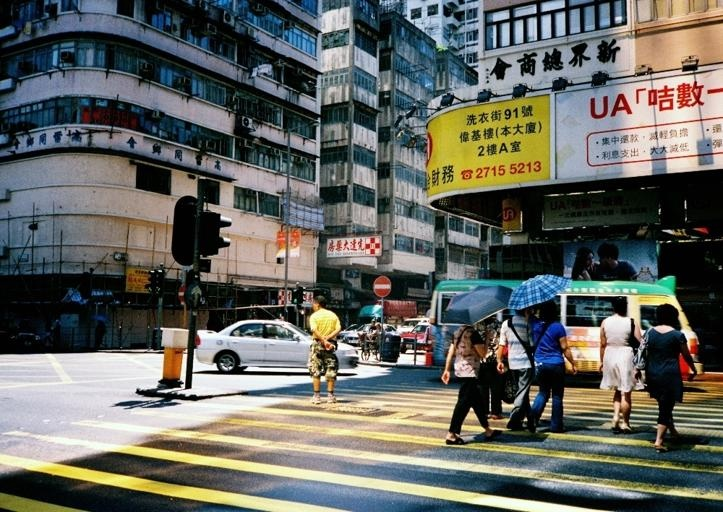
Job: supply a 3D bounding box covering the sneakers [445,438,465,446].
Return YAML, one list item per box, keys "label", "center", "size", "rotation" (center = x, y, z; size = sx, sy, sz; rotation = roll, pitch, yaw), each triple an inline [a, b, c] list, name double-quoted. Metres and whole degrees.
- label: "sneakers"
  center: [1.856, 3.643, 15.217]
  size: [0.377, 0.130, 0.142]
  rotation: [0, 1, -5]

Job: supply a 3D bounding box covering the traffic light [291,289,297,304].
- label: "traffic light"
  center: [-3.171, 1.994, 37.879]
  size: [0.312, 0.708, 0.775]
  rotation: [3, -8, -6]

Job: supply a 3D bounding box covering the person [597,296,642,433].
- label: "person"
  center: [5.513, 2.281, 16.435]
  size: [0.845, 2.871, 0.726]
  rotation: [-4, -9, 38]

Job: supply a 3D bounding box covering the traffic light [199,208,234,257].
- label: "traffic light"
  center: [-3.655, -0.612, 19.829]
  size: [0.762, 1.144, 0.455]
  rotation: [5, 20, -5]

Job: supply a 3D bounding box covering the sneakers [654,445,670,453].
- label: "sneakers"
  center: [5.854, 3.745, 15.071]
  size: [0.330, 0.137, 0.117]
  rotation: [-2, 3, -36]

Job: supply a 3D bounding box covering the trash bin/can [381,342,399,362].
- label: "trash bin/can"
  center: [1.274, 3.936, 32.070]
  size: [0.776, 0.811, 1.347]
  rotation: [-1, 3, 10]

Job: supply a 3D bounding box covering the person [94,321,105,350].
- label: "person"
  center: [-13.443, 4.083, 40.138]
  size: [0.531, 1.462, 1.273]
  rotation: [4, -8, -19]

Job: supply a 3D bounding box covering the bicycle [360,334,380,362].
- label: "bicycle"
  center: [0.456, 4.014, 34.896]
  size: [0.699, 0.975, 1.590]
  rotation: [0, -8, -1]

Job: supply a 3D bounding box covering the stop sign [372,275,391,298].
- label: "stop sign"
  center: [0.845, 1.185, 30.343]
  size: [0.519, 0.842, 1.504]
  rotation: [1, -8, 5]

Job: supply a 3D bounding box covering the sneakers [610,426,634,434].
- label: "sneakers"
  center: [5.485, 3.649, 16.312]
  size: [0.441, 0.186, 0.166]
  rotation: [2, -4, -15]

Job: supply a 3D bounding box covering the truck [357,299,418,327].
- label: "truck"
  center: [2.040, 4.225, 60.212]
  size: [2.524, 1.296, 5.266]
  rotation: [-5, -8, 28]

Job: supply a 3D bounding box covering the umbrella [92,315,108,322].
- label: "umbrella"
  center: [-13.620, 3.247, 40.847]
  size: [0.755, 0.372, 0.780]
  rotation: [6, -9, -29]

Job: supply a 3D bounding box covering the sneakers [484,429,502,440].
- label: "sneakers"
  center: [2.691, 3.602, 15.691]
  size: [0.161, 0.157, 0.423]
  rotation: [11, 12, 39]

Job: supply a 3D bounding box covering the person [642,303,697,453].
- label: "person"
  center: [6.101, 2.413, 15.485]
  size: [0.971, 2.877, 0.830]
  rotation: [-1, -8, 20]

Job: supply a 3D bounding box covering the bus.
- label: "bus"
  center: [6.210, 2.194, 24.915]
  size: [8.633, 3.783, 2.839]
  rotation: [0, -2, -3]
